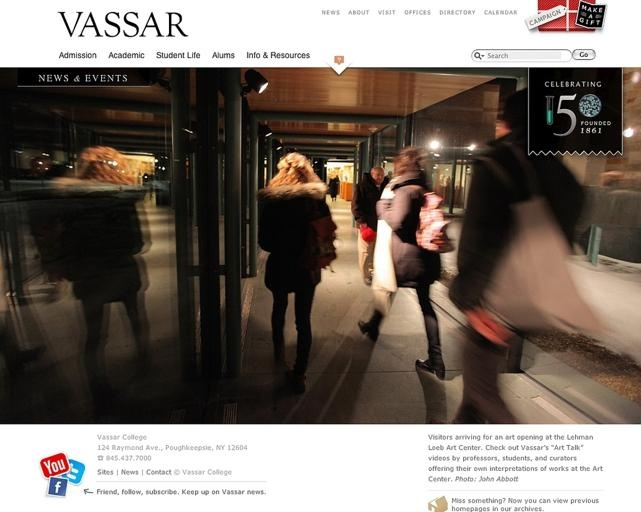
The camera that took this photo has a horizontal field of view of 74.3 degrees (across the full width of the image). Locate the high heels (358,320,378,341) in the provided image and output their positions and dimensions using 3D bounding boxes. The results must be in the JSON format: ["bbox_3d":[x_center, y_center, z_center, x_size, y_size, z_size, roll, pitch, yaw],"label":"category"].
[{"bbox_3d":[0.424,0.641,3.688,0.188,0.182,0.117,-2,7,-8],"label":"high heels"}]

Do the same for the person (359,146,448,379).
[{"bbox_3d":[0.666,0.082,3.089,0.573,1.669,0.433,3,8,20],"label":"person"}]

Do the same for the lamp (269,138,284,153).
[{"bbox_3d":[-0.842,-2.145,8.201,0.246,0.266,0.287,-1,29,-10],"label":"lamp"}]

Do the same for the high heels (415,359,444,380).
[{"bbox_3d":[0.857,0.857,3.260,0.249,0.090,0.091,27,10,4],"label":"high heels"}]

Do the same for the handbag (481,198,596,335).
[{"bbox_3d":[1.028,0.032,2.021,0.495,0.575,0.307,11,42,29],"label":"handbag"}]

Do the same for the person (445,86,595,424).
[{"bbox_3d":[0.940,0.025,2.053,0.577,1.592,0.202,1,7,5],"label":"person"}]

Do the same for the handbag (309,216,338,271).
[{"bbox_3d":[0.017,-0.103,2.966,0.109,0.392,0.221,-1,6,43],"label":"handbag"}]

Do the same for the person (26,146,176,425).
[{"bbox_3d":[-1.469,0.157,2.892,0.766,1.730,0.731,-7,10,-44],"label":"person"}]

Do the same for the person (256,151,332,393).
[{"bbox_3d":[-0.159,0.119,3.021,0.539,1.660,0.237,-1,7,-9],"label":"person"}]

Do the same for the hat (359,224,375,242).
[{"bbox_3d":[0.471,-0.226,4.220,0.131,0.168,0.061,7,52,7],"label":"hat"}]

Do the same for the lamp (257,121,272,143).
[{"bbox_3d":[-0.836,-1.849,6.264,0.208,0.275,0.381,13,24,-13],"label":"lamp"}]

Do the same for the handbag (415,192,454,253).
[{"bbox_3d":[0.794,-0.231,2.942,0.263,0.463,0.198,3,-11,-10],"label":"handbag"}]
